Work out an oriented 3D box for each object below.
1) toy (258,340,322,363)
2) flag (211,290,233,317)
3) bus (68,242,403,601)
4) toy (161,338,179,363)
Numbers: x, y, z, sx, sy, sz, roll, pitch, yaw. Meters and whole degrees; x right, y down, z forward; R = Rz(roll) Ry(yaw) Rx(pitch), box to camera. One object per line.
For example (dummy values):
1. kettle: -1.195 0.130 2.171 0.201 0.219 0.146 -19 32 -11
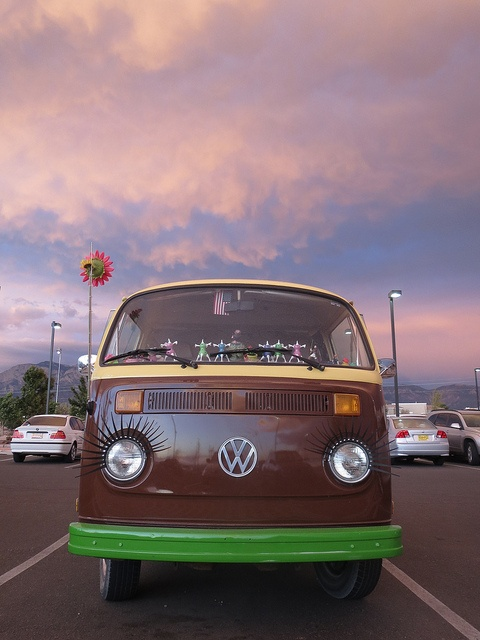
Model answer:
1. toy: 0.292 0.215 3.147 0.328 0.103 0.205 2 1 -2
2. flag: -0.142 -0.135 3.708 0.220 0.021 0.287 4 -44 3
3. bus: 0.011 0.610 3.962 1.685 1.709 2.997 1 -8 0
4. toy: -0.512 0.207 3.534 0.174 0.143 0.188 -1 35 -3
